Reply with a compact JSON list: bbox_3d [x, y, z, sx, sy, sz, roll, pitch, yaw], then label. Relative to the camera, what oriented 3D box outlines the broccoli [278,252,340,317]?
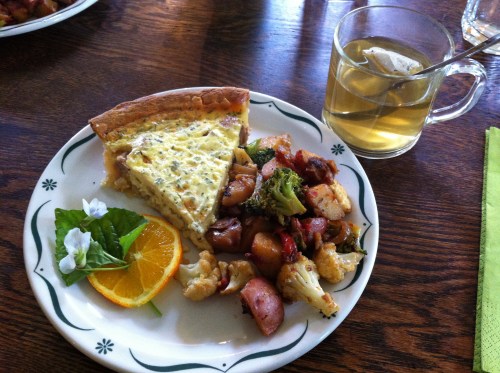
[{"bbox_3d":[0.361,0.653,2.619,0.282,0.185,0.412,-39,56,-17],"label":"broccoli"}]

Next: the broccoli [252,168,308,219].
[{"bbox_3d":[0.213,0.067,2.788,0.308,0.371,0.303,42,106,30],"label":"broccoli"}]

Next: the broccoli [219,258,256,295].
[{"bbox_3d":[-0.086,0.613,2.735,0.207,0.081,0.291,25,51,8],"label":"broccoli"}]

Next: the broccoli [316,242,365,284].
[{"bbox_3d":[0.597,0.500,2.748,0.350,0.147,0.238,16,19,-20],"label":"broccoli"}]

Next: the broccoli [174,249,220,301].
[{"bbox_3d":[-0.339,0.589,2.738,0.324,0.127,0.288,-24,59,-7],"label":"broccoli"}]
